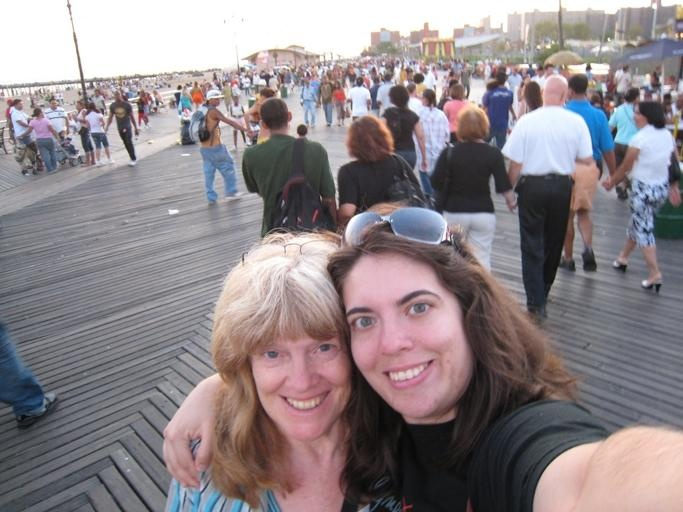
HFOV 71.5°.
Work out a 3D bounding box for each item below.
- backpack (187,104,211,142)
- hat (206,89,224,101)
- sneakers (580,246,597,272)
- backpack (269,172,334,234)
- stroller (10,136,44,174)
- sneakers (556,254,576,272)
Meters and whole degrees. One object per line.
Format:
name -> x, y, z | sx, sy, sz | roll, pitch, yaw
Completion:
backpack -> -2.746, -2.578, 9.169 | 0.381, 0.728, 0.607 | -11, 23, -19
hat -> -2.476, -3.188, 9.329 | 0.281, 0.159, 0.403 | 11, 31, 33
sneakers -> 3.088, 0.015, 5.929 | 0.121, 0.396, 0.165 | -7, 39, 19
backpack -> -0.335, -0.479, 4.197 | 0.590, 0.710, 0.383 | -4, -9, -13
stroller -> -9.438, -3.043, 14.486 | 0.836, 1.257, 0.984 | -4, 25, -15
sneakers -> 2.910, 0.082, 6.192 | 0.117, 0.148, 0.326 | -3, 15, 3
